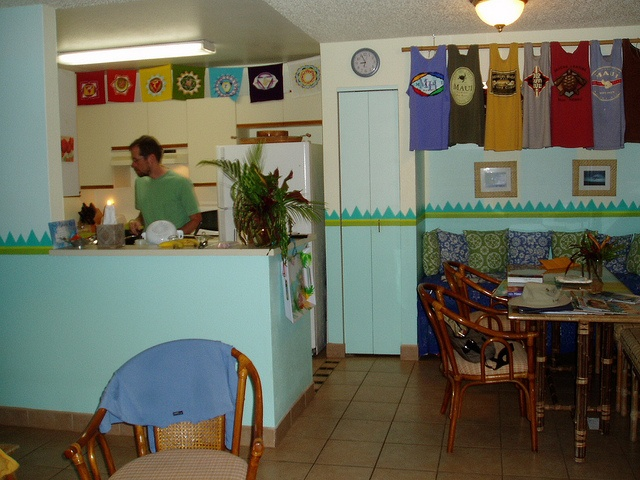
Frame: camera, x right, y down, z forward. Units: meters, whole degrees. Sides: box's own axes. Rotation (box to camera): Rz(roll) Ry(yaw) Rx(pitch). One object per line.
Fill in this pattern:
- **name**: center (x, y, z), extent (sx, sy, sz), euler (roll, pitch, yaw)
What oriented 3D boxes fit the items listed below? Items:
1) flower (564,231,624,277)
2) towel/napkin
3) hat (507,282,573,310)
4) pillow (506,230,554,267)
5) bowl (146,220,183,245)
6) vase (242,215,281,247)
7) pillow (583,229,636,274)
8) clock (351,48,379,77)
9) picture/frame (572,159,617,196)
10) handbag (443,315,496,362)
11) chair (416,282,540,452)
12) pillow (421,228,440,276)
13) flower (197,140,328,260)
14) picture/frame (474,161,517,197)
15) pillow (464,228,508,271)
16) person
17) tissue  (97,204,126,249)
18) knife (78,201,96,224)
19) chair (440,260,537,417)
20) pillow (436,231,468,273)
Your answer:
- **flower**: center (2.481, 0.139, 4.845), extent (0.350, 0.358, 0.361), euler (7, 13, 33)
- **towel/napkin**: center (-0.779, 0.689, 2.877), extent (0.662, 0.715, 0.528), euler (-1, -2, -3)
- **hat**: center (1.478, 0.379, 3.611), extent (0.385, 0.128, 0.283), euler (2, 10, 22)
- **pillow**: center (2.217, 0.098, 5.633), extent (0.323, 0.322, 0.125), euler (3, -13, 15)
- **bowl**: center (-1.171, -0.066, 4.031), extent (0.224, 0.069, 0.160), euler (-26, 52, -30)
- **vase**: center (-0.412, -0.053, 3.752), extent (0.235, 0.243, 0.212), euler (3, -2, 9)
- **pillow**: center (3.051, 0.052, 5.601), extent (0.523, 0.561, 0.166), euler (2, -9, -7)
- **clock**: center (0.454, -1.721, 5.327), extent (0.253, 0.269, 0.260), euler (14, 3, 37)
- **picture/frame**: center (2.942, -0.687, 5.710), extent (0.364, 0.339, 0.029), euler (1, 3, 11)
- **handbag**: center (1.013, 0.689, 3.716), extent (0.353, 0.236, 0.119), euler (32, 4, 6)
- **chair**: center (1.182, 0.924, 3.887), extent (0.816, 1.053, 0.879), euler (-1, -4, -18)
- **pillow**: center (1.201, 0.135, 5.710), extent (0.299, 0.436, 0.208), euler (-10, 13, -40)
- **flower**: center (-0.374, -0.305, 4.064), extent (0.673, 0.834, 0.901), euler (-2, 10, 0)
- **picture/frame**: center (1.950, -0.692, 5.894), extent (0.366, 0.340, 0.018), euler (-1, 3, 7)
- **pillow**: center (1.779, 0.120, 5.730), extent (0.371, 0.401, 0.143), euler (2, -14, 9)
- **person**: center (-1.443, -0.425, 4.839), extent (0.683, 1.008, 0.560), euler (5, 16, 15)
- **tissue **: center (-1.630, -0.110, 4.130), extent (0.218, 0.297, 0.215), euler (-6, 8, -43)
- **knife**: center (-3.328, -0.387, 7.577), extent (0.231, 0.299, 0.288), euler (6, -8, -38)
- **chair**: center (1.362, 0.512, 4.693), extent (0.773, 1.127, 0.790), euler (-5, 15, 11)
- **pillow**: center (1.476, 0.054, 5.803), extent (0.337, 0.441, 0.168), euler (1, 28, 28)
